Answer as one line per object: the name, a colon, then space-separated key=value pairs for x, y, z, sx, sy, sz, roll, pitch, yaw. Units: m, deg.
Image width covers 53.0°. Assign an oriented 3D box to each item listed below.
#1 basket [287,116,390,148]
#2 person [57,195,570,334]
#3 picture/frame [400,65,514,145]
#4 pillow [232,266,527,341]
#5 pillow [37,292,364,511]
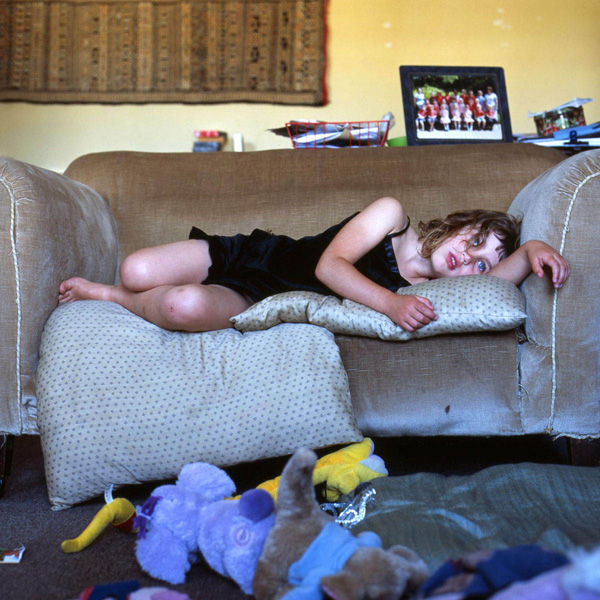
basket: x=0.122 y=-0.547 z=1.976 sx=0.277 sy=0.062 sz=0.178 roll=0 pitch=7 yaw=-2
person: x=0.008 y=-0.072 z=1.487 sx=1.210 sy=0.297 sz=0.333 roll=1 pitch=11 yaw=-1
picture/frame: x=0.501 y=-0.630 z=1.940 sx=0.516 sy=0.335 sz=0.033 roll=1 pitch=-24 yaw=-6
pillow: x=0.177 y=0.024 z=1.184 sx=0.408 sy=0.075 sz=0.217 roll=-7 pitch=-4 yaw=8
pillow: x=-0.165 y=0.170 z=1.096 sx=0.514 sy=0.132 sz=0.365 roll=-5 pitch=41 yaw=-6
